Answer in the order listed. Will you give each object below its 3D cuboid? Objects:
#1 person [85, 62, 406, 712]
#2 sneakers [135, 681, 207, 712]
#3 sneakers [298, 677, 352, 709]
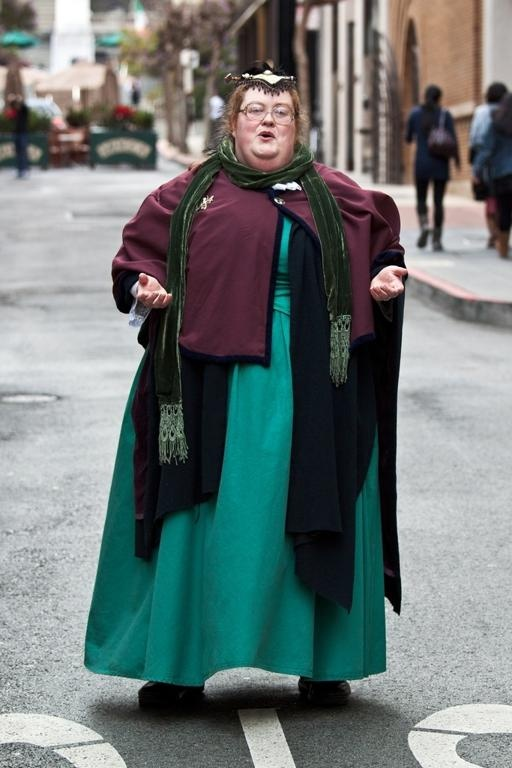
[{"bbox_3d":[-0.031,0.012,2.920,0.864,1.713,0.544,2,8,4],"label":"person"},{"bbox_3d":[-0.240,0.834,2.968,0.199,0.088,0.069,9,-13,-20],"label":"sneakers"},{"bbox_3d":[0.181,0.830,3.026,0.070,0.043,0.129,1,-6,-10],"label":"sneakers"}]
